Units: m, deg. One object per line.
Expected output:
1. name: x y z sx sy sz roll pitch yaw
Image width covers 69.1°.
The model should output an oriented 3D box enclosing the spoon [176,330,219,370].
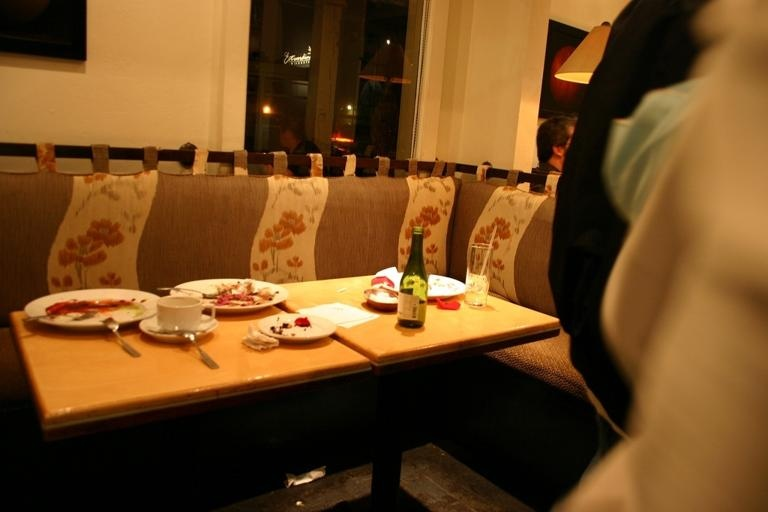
1. spoon: -0.380 0.177 1.167 0.048 0.015 0.147 3 23 -33

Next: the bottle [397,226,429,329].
1. bottle: 0.083 0.051 1.479 0.078 0.252 0.165 6 13 3

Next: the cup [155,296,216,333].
1. cup: -0.446 0.126 1.256 0.102 0.070 0.079 6 -1 -21

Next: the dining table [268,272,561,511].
1. dining table: 0.066 0.343 1.750 0.665 0.686 0.682 -8 21 -30
